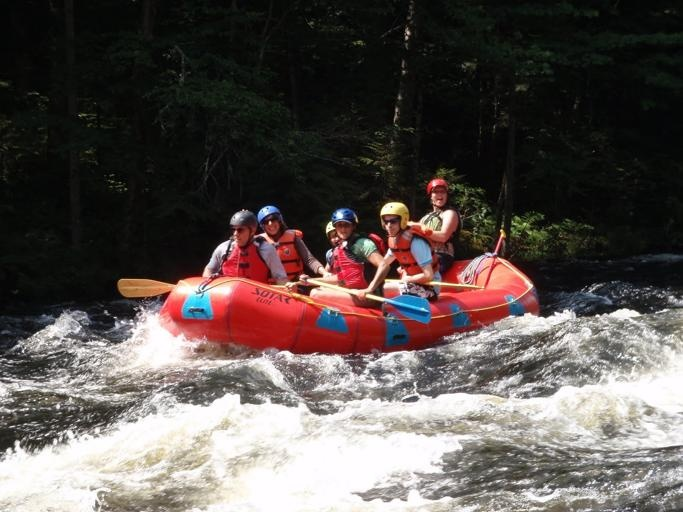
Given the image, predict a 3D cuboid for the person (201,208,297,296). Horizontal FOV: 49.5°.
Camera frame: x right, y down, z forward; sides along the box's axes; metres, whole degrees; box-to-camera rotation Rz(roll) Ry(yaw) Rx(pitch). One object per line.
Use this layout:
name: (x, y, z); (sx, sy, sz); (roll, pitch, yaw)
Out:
person: (-1.162, -0.003, 10.175); (1.666, 1.423, 1.019); (2, 4, 20)

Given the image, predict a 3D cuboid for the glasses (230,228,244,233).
glasses: (-1.365, -0.325, 9.801); (0.093, 0.074, 0.028); (-1, 5, 20)

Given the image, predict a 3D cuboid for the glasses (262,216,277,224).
glasses: (-1.025, -0.509, 10.705); (0.131, 0.072, 0.155); (-23, -5, 8)

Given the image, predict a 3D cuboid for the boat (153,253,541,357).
boat: (0.162, 0.822, 9.907); (3.733, 0.594, 1.974); (-1, 1, -24)

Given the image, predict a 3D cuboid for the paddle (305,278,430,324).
paddle: (0.326, 0.548, 10.236); (2.049, 0.337, 0.132); (11, 17, 37)

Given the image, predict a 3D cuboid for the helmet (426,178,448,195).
helmet: (1.475, -1.067, 11.513); (0.368, 0.195, 0.418); (-5, -24, 0)

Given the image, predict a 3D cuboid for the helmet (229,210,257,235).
helmet: (-1.326, -0.433, 9.817); (0.376, 0.275, 0.275); (-16, 20, -39)

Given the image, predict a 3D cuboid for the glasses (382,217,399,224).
glasses: (0.655, -0.466, 9.922); (0.248, 0.080, 0.094); (1, 0, 34)

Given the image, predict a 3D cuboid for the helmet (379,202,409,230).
helmet: (0.730, -0.565, 10.017); (0.327, 0.274, 0.440); (-9, -2, 41)

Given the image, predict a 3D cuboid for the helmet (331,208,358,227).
helmet: (0.031, -0.522, 9.961); (0.311, 0.230, 0.478); (1, 0, -2)
